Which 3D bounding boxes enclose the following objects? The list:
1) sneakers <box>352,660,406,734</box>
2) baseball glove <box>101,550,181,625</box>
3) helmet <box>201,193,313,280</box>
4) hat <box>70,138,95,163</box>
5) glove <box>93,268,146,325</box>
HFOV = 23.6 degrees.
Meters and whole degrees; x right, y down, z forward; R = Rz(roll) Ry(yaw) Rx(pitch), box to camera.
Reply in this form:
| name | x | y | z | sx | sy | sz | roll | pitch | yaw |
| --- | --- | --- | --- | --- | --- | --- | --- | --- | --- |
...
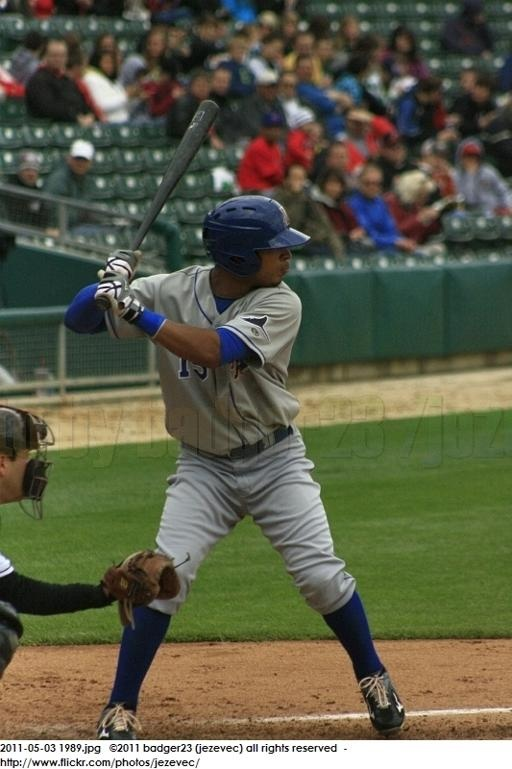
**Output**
| name | x | y | z | sx | sy | sz | roll | pitch | yaw |
| --- | --- | --- | --- | --- | --- | --- | --- | --- | --- |
| sneakers | 0.337 | 0.877 | 3.438 | 0.087 | 0.216 | 0.101 | -20 | -7 | -3 |
| baseball glove | -0.290 | 0.502 | 3.175 | 0.165 | 0.211 | 0.102 | -34 | 17 | 4 |
| helmet | 0.000 | -0.431 | 3.428 | 0.303 | 0.174 | 0.195 | -1 | 15 | -2 |
| hat | -1.184 | -1.590 | 8.307 | 0.158 | 0.080 | 0.208 | 15 | 14 | -14 |
| glove | -0.362 | -0.231 | 3.233 | 0.130 | 0.068 | 0.144 | 20 | 42 | -12 |
